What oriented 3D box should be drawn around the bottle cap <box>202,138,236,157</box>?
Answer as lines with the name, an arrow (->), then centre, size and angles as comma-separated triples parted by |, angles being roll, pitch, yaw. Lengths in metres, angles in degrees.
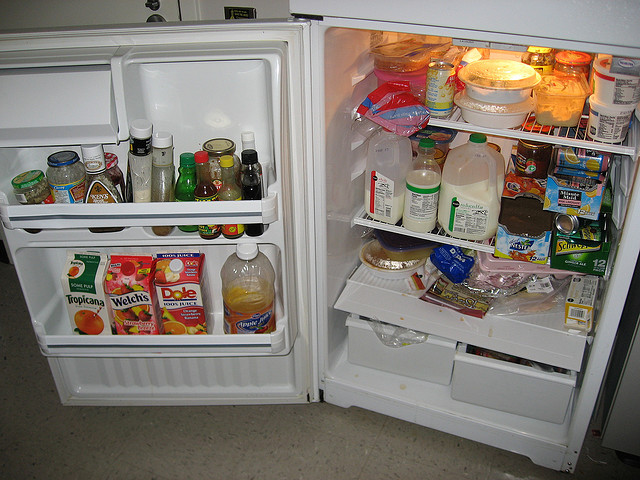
bottle cap -> -0.309, -0.282, 1.480 | 0.099, 0.044, 0.095 | -5, 23, -8

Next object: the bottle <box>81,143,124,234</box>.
bottle -> -0.673, -0.139, 1.504 | 0.129, 0.302, 0.096 | -8, 15, -10

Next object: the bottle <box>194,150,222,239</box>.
bottle -> -0.342, -0.129, 1.463 | 0.074, 0.259, 0.159 | -8, 24, -14

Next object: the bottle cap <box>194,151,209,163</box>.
bottle cap -> -0.354, -0.248, 1.444 | 0.035, 0.021, 0.033 | 1, 37, -6

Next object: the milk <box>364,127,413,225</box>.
milk -> 0.268, -0.224, 1.763 | 0.215, 0.328, 0.215 | -2, 22, -10

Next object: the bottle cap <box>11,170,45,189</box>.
bottle cap -> -0.900, -0.188, 1.492 | 0.084, 0.036, 0.091 | 20, 31, 41

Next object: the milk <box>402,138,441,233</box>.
milk -> 0.363, -0.187, 1.700 | 0.135, 0.315, 0.130 | -1, 26, -4

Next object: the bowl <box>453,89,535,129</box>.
bowl -> 0.566, -0.429, 1.554 | 0.273, 0.084, 0.259 | 1, 9, 0

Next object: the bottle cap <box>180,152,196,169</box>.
bottle cap -> -0.398, -0.238, 1.457 | 0.037, 0.026, 0.035 | 14, 41, 7

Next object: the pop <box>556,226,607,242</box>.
pop -> 0.862, -0.025, 1.539 | 0.072, 0.016, 0.070 | 1, 7, 14

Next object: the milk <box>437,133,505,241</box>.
milk -> 0.501, -0.177, 1.712 | 0.206, 0.358, 0.228 | 12, 35, 19

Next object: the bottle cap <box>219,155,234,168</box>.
bottle cap -> -0.273, -0.230, 1.414 | 0.035, 0.019, 0.033 | 2, 39, -1

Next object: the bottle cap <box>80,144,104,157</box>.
bottle cap -> -0.671, -0.263, 1.418 | 0.045, 0.030, 0.044 | -6, 39, -19

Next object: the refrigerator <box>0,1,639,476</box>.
refrigerator -> 0.024, 0.032, 1.695 | 1.909, 1.548, 0.834 | 4, 24, 13

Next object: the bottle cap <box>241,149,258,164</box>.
bottle cap -> -0.209, -0.243, 1.421 | 0.042, 0.036, 0.041 | -20, 37, -31

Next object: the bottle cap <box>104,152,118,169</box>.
bottle cap -> -0.650, -0.251, 1.534 | 0.049, 0.011, 0.047 | -12, 43, -14

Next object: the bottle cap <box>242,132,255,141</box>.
bottle cap -> -0.217, -0.313, 1.467 | 0.040, 0.024, 0.027 | -10, 25, -19

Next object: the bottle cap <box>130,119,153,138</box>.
bottle cap -> -0.518, -0.322, 1.402 | 0.056, 0.031, 0.055 | -22, 54, -30

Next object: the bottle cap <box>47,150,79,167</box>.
bottle cap -> -0.776, -0.242, 1.464 | 0.069, 0.035, 0.075 | 5, 24, 16

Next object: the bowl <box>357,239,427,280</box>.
bowl -> 0.270, 0.045, 2.007 | 0.068, 0.197, 0.193 | -37, 50, 10

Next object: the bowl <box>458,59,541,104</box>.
bowl -> 0.570, -0.505, 1.543 | 0.243, 0.080, 0.244 | -3, 38, 2

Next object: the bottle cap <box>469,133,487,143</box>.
bottle cap -> 0.507, -0.329, 1.566 | 0.048, 0.027, 0.038 | 8, 25, 22

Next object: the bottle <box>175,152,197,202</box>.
bottle -> -0.408, -0.189, 1.483 | 0.068, 0.174, 0.065 | 7, 40, -6

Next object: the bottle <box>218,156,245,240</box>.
bottle -> -0.268, -0.129, 1.474 | 0.084, 0.259, 0.077 | -2, 24, 1
